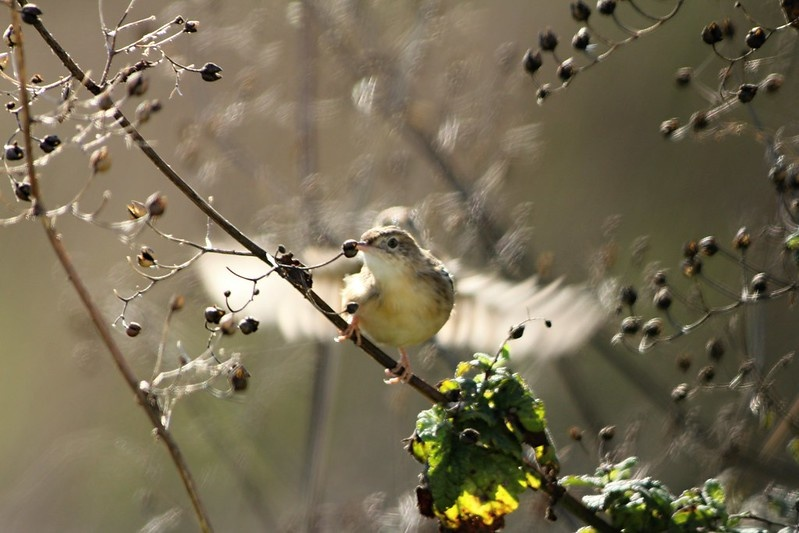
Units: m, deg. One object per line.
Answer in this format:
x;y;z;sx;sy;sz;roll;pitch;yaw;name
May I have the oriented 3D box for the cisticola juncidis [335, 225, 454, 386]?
0.042;0.173;4.924;0.412;0.758;0.557;2;73;12;cisticola juncidis
